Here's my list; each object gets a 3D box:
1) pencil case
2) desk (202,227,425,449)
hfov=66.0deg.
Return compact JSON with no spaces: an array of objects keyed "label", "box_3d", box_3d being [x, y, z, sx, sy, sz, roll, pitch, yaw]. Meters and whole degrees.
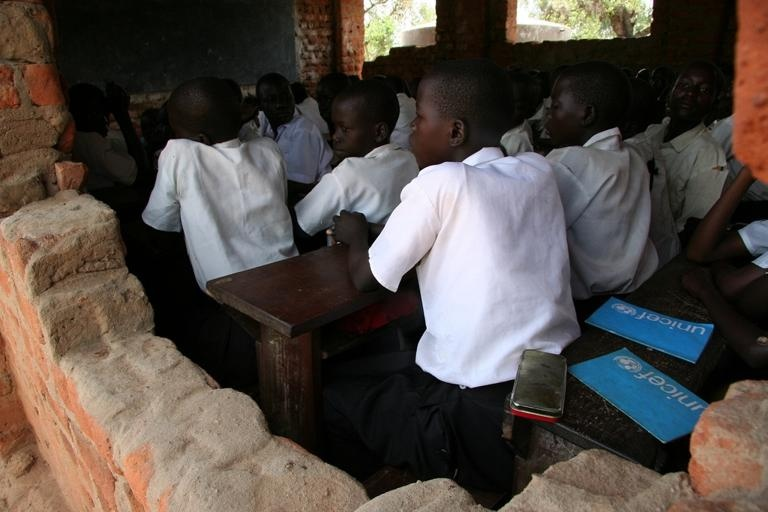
[{"label":"pencil case","box_3d":[0.519,0.417,1.949,0.143,0.055,0.236,10,32,19]},{"label":"desk","box_3d":[-0.240,0.222,2.657,0.665,0.936,0.998,20,32,35]}]
